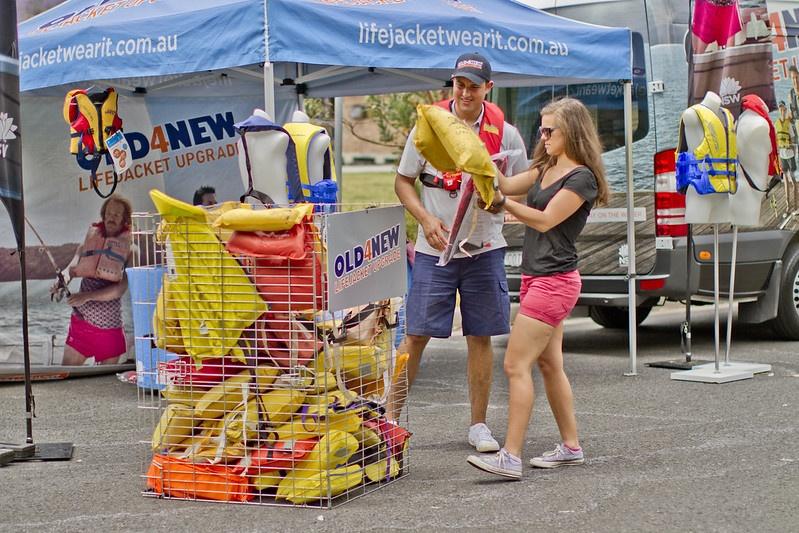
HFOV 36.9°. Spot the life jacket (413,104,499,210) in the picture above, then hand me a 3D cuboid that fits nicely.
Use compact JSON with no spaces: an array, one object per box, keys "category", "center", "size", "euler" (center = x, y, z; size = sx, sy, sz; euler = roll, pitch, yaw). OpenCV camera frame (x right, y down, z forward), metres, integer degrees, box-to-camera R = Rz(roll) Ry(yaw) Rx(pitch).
[{"category":"life jacket","center":[0.422,-0.827,9.071],"size":[0.306,0.750,0.696],"euler":[-10,14,-36]}]

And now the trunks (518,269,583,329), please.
[{"category":"trunks","center":[1.209,0.186,9.411],"size":[0.448,0.526,0.619],"euler":[13,5,4]}]

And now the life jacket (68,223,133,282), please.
[{"category":"life jacket","center":[-3.071,-0.029,12.482],"size":[0.478,0.244,0.585],"euler":[4,43,-4]}]

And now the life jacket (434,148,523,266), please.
[{"category":"life jacket","center":[0.597,-0.485,9.414],"size":[0.269,0.717,0.689],"euler":[29,43,12]}]

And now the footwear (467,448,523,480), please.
[{"category":"footwear","center":[0.735,1.484,9.118],"size":[0.471,0.204,0.181],"euler":[16,-6,-7]}]

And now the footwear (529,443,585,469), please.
[{"category":"footwear","center":[1.267,1.527,9.501],"size":[0.446,0.164,0.169],"euler":[0,-3,-4]}]

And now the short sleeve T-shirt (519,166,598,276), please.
[{"category":"short sleeve T-shirt","center":[1.247,-0.378,9.427],"size":[0.630,0.984,1.037],"euler":[2,1,-14]}]

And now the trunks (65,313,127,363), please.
[{"category":"trunks","center":[-3.150,0.746,12.351],"size":[0.434,0.363,0.242],"euler":[19,3,-15]}]

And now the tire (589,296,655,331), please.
[{"category":"tire","center":[2.563,0.554,13.846],"size":[0.525,0.546,0.190],"euler":[2,6,-35]}]

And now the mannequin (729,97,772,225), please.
[{"category":"mannequin","center":[3.528,-1.037,11.909],"size":[0.442,1.251,0.581],"euler":[-6,12,-21]}]

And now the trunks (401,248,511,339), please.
[{"category":"trunks","center":[0.456,0.225,9.722],"size":[0.812,0.689,0.286],"euler":[0,-3,-5]}]

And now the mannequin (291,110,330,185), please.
[{"category":"mannequin","center":[-0.738,-1.018,10.365],"size":[0.344,0.589,0.510],"euler":[-2,11,-4]}]

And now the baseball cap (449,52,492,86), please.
[{"category":"baseball cap","center":[0.586,-1.561,9.491],"size":[0.284,0.242,0.194],"euler":[-2,11,-3]}]
